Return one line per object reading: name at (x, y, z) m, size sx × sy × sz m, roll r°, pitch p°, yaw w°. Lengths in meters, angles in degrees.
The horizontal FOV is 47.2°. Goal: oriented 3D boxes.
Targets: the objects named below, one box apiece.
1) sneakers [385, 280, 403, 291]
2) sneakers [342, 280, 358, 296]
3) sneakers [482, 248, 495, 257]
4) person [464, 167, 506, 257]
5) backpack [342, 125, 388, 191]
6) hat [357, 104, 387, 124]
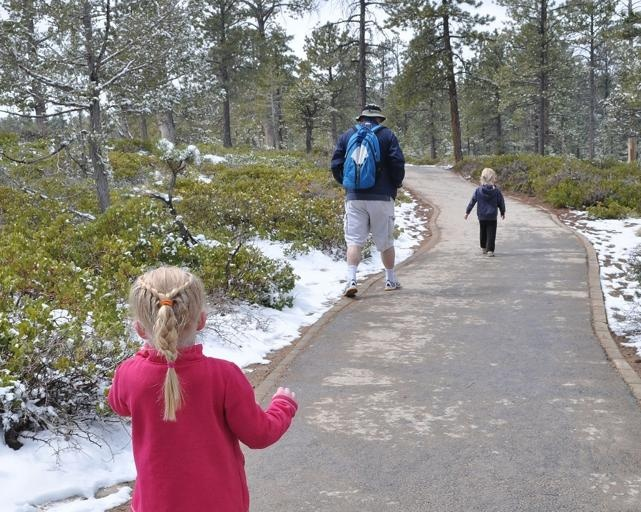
sneakers at (1.024, 0.408, 10.424) m, size 0.099 × 0.119 × 0.290 m, roll 3°, pitch 7°, yaw 31°
sneakers at (0.413, 0.446, 10.199) m, size 0.198 × 0.222 × 0.517 m, roll 0°, pitch -5°, yaw 0°
sneakers at (2.865, -0.077, 12.534) m, size 0.128 × 0.163 × 0.363 m, roll -1°, pitch -3°, yaw 9°
person at (2.924, -0.881, 13.080) m, size 0.688 × 1.444 × 1.808 m, roll -2°, pitch 11°, yaw 12°
backpack at (0.558, -1.333, 9.736) m, size 0.461 × 0.885 × 0.498 m, roll 7°, pitch 4°, yaw 27°
hat at (0.695, -1.998, 9.984) m, size 0.287 × 0.141 × 0.377 m, roll 1°, pitch -2°, yaw 5°
